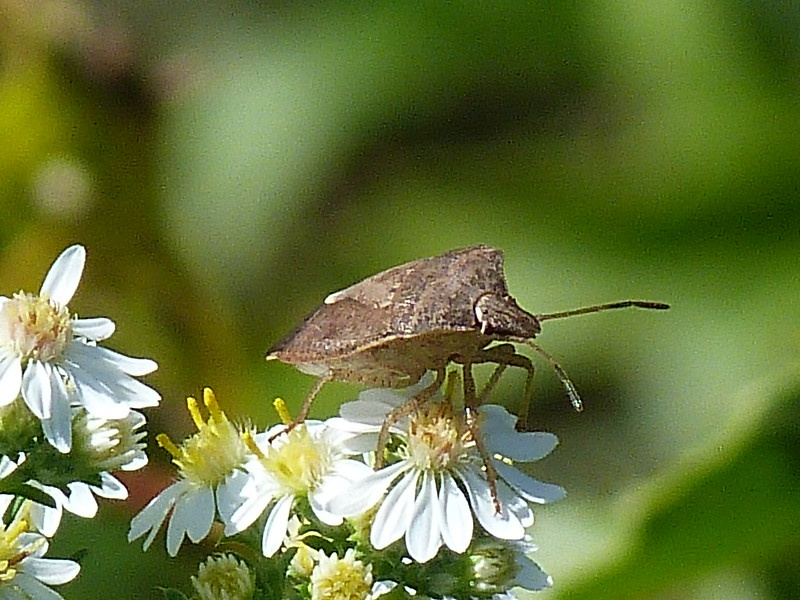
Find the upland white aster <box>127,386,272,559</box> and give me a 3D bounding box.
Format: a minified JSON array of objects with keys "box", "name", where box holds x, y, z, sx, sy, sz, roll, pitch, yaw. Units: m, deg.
[{"box":[-0.678,0.609,3.918,0.239,0.533,0.528,21,19,-8],"name":"upland white aster"}]
